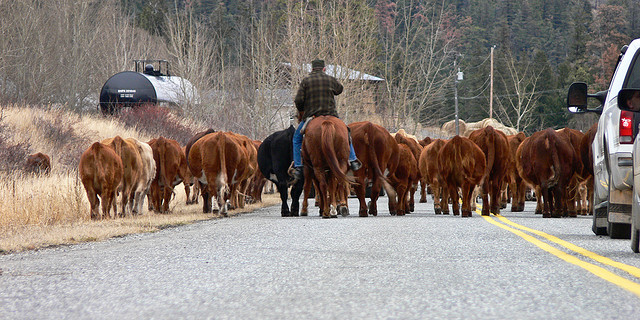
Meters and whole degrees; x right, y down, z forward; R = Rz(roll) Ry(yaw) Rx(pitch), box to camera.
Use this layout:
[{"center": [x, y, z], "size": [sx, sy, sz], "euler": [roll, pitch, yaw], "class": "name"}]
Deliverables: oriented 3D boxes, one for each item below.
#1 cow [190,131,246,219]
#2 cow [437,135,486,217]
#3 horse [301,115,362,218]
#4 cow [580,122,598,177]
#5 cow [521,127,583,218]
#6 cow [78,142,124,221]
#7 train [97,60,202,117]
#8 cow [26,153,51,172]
[{"center": [-4.513, 0.641, 34.625], "size": [2.011, 3.796, 2.790], "euler": [-2, -2, 20], "class": "cow"}, {"center": [6.243, 0.719, 33.366], "size": [2.021, 3.539, 0.818], "euler": [-1, -2, 7], "class": "cow"}, {"center": [0.551, 0.283, 33.097], "size": [2.161, 4.420, 1.725], "euler": [-2, -2, 19], "class": "horse"}, {"center": [11.328, -0.454, 31.974], "size": [0.611, 2.040, 2.327], "euler": [-2, -2, 17], "class": "cow"}, {"center": [11.054, 0.591, 36.005], "size": [3.350, 3.800, 7.795], "euler": [-1, -2, 18], "class": "cow"}, {"center": [-9.142, 0.911, 31.826], "size": [1.476, 3.230, 0.896], "euler": [0, -2, -44], "class": "cow"}, {"center": [-13.486, -5.294, 58.711], "size": [5.816, 4.526, 8.279], "euler": [0, -2, 11], "class": "train"}, {"center": [-13.898, 0.137, 37.435], "size": [1.104, 0.928, 0.528], "euler": [-1, -2, -17], "class": "cow"}]
